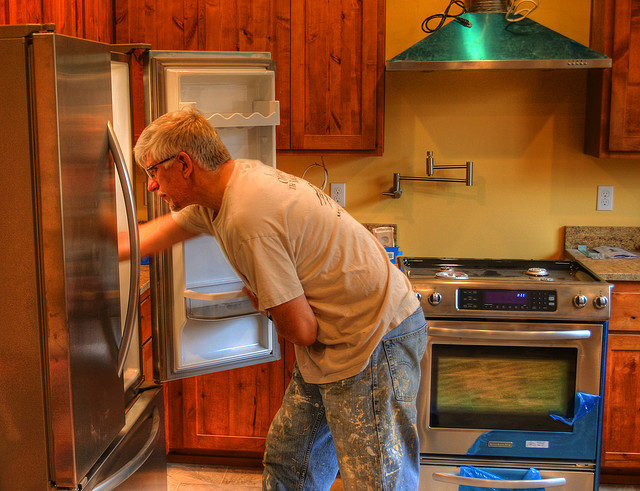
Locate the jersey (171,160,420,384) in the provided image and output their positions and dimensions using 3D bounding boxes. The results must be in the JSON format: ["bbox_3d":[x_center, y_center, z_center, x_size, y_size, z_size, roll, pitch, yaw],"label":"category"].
[{"bbox_3d":[-0.037,0.019,2.084,0.705,0.651,0.574,-17,17,14],"label":"jersey"}]

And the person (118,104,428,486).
[{"bbox_3d":[-0.115,0.222,2.008,0.869,1.274,0.479,0,8,7],"label":"person"}]

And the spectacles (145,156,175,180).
[{"bbox_3d":[-0.469,-0.227,1.927,0.072,0.065,0.019,-19,57,-13],"label":"spectacles"}]

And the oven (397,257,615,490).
[{"bbox_3d":[0.825,0.510,3.206,1.049,1.276,0.944,1,3,4],"label":"oven"}]

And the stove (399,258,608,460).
[{"bbox_3d":[0.972,0.641,3.004,1.044,0.900,0.745,-5,-18,37],"label":"stove"}]
